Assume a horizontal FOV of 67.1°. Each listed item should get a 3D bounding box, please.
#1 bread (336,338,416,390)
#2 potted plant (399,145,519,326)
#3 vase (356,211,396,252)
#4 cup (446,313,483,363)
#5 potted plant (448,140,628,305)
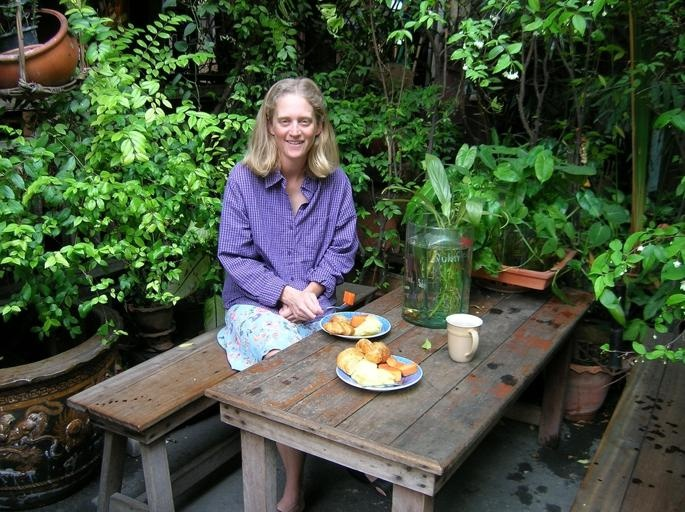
[{"bbox_3d":[0.088,0.344,1.615,0.167,0.060,0.169,15,23,35],"label":"bread"},{"bbox_3d":[0.428,-0.043,2.061,0.633,0.622,0.256,3,6,-9],"label":"potted plant"},{"bbox_3d":[0.231,-0.183,3.498,0.286,0.182,0.182,9,-6,28],"label":"vase"},{"bbox_3d":[0.419,0.293,1.739,0.126,0.128,0.177,4,5,-5],"label":"cup"},{"bbox_3d":[0.873,-0.235,2.393,0.884,0.522,0.655,-18,33,-29],"label":"potted plant"}]
